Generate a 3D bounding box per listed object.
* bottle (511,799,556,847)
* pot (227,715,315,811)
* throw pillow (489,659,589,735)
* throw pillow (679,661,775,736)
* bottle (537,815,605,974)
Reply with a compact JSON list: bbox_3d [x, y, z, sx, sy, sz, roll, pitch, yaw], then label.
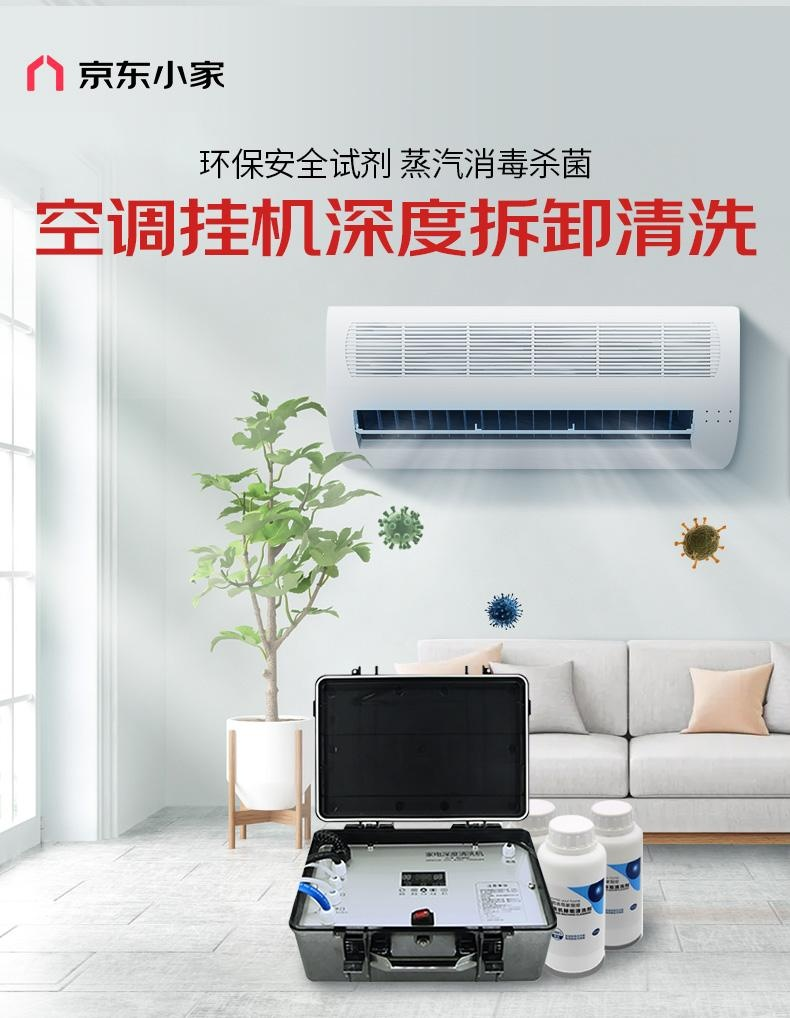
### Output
[{"bbox_3d":[0.346,0.746,2.285,0.103,0.105,0.094,0,1,-27],"label":"bottle"},{"bbox_3d":[-0.464,1.024,3.850,0.330,0.355,0.370,-1,-8,-2],"label":"pot"},{"bbox_3d":[0.667,0.801,4.012,0.127,0.307,0.322,1,-14,-34],"label":"throw pillow"},{"bbox_3d":[1.371,0.798,3.916,0.283,0.249,0.105,-2,-41,16],"label":"throw pillow"},{"bbox_3d":[0.389,0.862,2.077,0.143,0.351,0.233,-2,-7,9],"label":"bottle"}]
